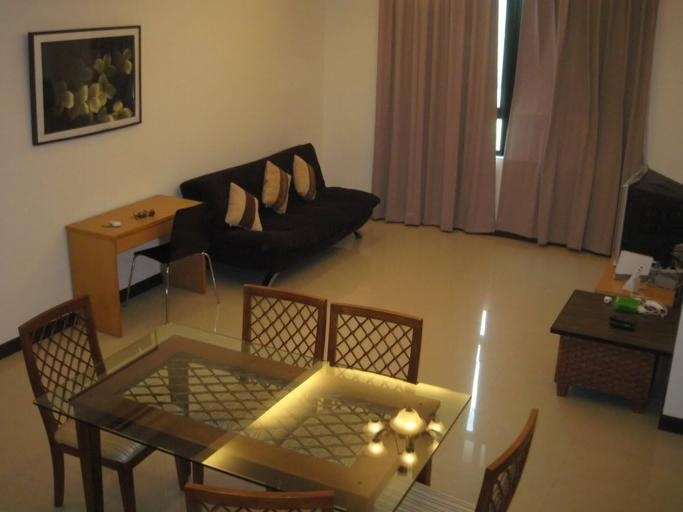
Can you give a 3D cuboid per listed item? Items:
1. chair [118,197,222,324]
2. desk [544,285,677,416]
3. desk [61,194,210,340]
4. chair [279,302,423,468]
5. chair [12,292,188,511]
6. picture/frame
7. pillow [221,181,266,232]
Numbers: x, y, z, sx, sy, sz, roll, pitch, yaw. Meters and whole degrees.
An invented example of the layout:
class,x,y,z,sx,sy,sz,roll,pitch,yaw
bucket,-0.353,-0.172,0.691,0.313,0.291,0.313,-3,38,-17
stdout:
class,x,y,z,sx,sy,sz,roll,pitch,yaw
chair,-1.571,-0.008,5.063,0.817,1.220,0.878,-11,2,-2
desk,1.947,0.729,4.039,0.760,0.628,0.756,12,18,30
desk,-1.796,0.078,4.749,0.485,0.757,0.915,15,29,22
chair,0.173,0.790,3.528,0.597,1.120,0.646,8,8,14
chair,-1.429,0.869,3.183,0.704,1.219,0.616,11,24,20
picture/frame,-2.135,-1.407,4.517,0.060,0.850,0.980,11,21,24
pillow,-1.008,-0.504,5.671,0.361,0.441,0.315,-1,16,-12
